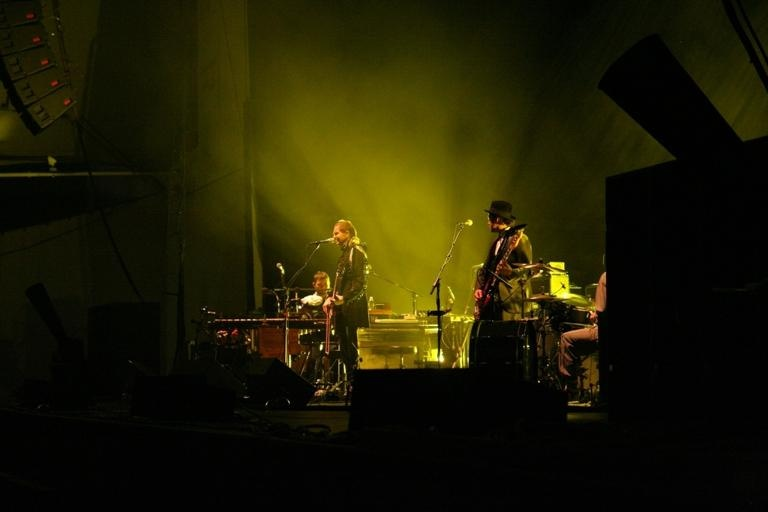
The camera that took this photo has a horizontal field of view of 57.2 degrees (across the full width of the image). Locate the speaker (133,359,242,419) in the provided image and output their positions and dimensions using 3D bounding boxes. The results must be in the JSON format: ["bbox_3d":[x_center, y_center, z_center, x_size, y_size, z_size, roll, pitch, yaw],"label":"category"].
[{"bbox_3d":[-1.853,1.291,6.446,0.663,0.436,0.635,6,-8,-41],"label":"speaker"}]

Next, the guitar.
[{"bbox_3d":[1.430,0.184,8.837,0.657,1.207,0.568,-6,13,-17],"label":"guitar"}]

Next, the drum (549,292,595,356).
[{"bbox_3d":[2.504,0.775,9.298,0.699,0.633,0.602,3,-14,-6],"label":"drum"}]

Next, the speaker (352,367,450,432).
[{"bbox_3d":[0.127,1.214,6.058,0.866,0.445,0.273,-3,13,-4],"label":"speaker"}]

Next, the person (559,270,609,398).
[{"bbox_3d":[2.492,0.839,8.759,0.616,1.605,0.569,9,21,25],"label":"person"}]

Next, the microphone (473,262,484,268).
[{"bbox_3d":[1.554,0.165,11.606,0.163,0.122,0.168,2,0,39],"label":"microphone"}]

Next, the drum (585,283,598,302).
[{"bbox_3d":[2.928,0.525,9.949,0.210,0.392,0.213,0,-7,0],"label":"drum"}]
